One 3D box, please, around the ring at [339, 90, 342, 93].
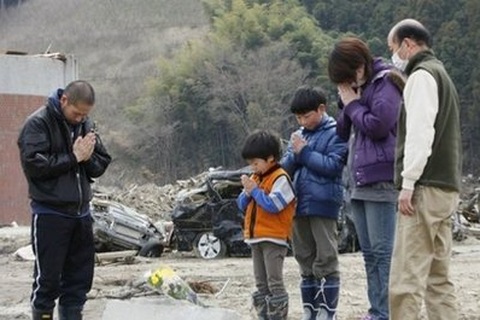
[{"bbox_3d":[3.848,-2.598,28.492,0.109,0.120,0.030,9,7,27],"label":"ring"}]
